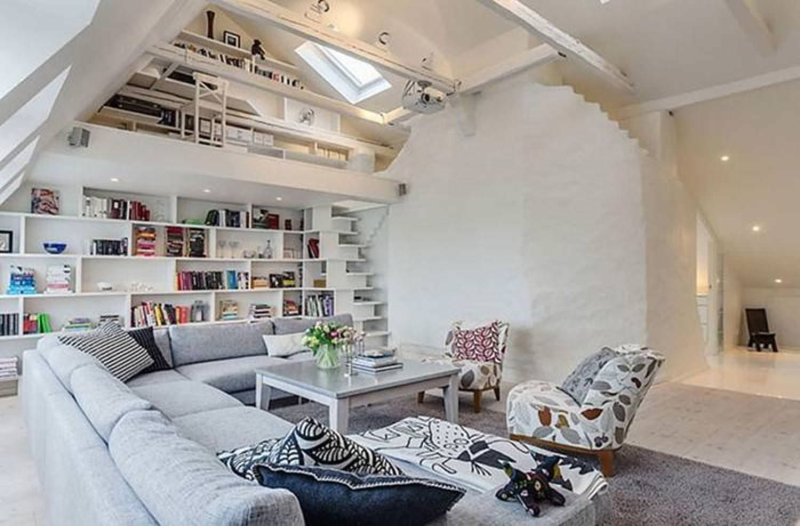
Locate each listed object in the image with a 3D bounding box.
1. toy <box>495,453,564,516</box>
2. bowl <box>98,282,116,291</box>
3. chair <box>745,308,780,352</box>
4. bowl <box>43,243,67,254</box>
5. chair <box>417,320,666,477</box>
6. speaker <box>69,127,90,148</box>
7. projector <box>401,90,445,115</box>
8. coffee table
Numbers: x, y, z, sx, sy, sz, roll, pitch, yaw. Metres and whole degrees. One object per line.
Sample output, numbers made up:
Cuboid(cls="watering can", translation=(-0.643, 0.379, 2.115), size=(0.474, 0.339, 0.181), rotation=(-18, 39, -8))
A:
Cuboid(cls="toy", translation=(0.829, 1.375, 3.071), size=(0.491, 0.266, 0.243), rotation=(5, -9, -37))
Cuboid(cls="bowl", translation=(-3.876, 0.333, 6.680), size=(0.162, 0.087, 0.157), rotation=(0, -6, 0))
Cuboid(cls="chair", translation=(6.488, 1.225, 9.044), size=(0.440, 0.790, 0.574), rotation=(-5, -8, 33))
Cuboid(cls="bowl", translation=(-4.373, -0.150, 6.385), size=(0.189, 0.095, 0.182), rotation=(-1, -4, 0))
Cuboid(cls="chair", translation=(1.377, 1.179, 4.445), size=(1.527, 0.845, 0.864), rotation=(5, -1, 27))
Cuboid(cls="speaker", translation=(-3.351, -1.322, 5.250), size=(0.191, 0.182, 0.192), rotation=(7, 11, -33))
Cuboid(cls="projector", translation=(0.296, -2.050, 6.325), size=(0.399, 0.187, 0.443), rotation=(-5, -8, 30))
Cuboid(cls="coffee table", translation=(-0.609, 1.144, 4.781), size=(1.020, 0.426, 1.008), rotation=(1, -4, -38))
